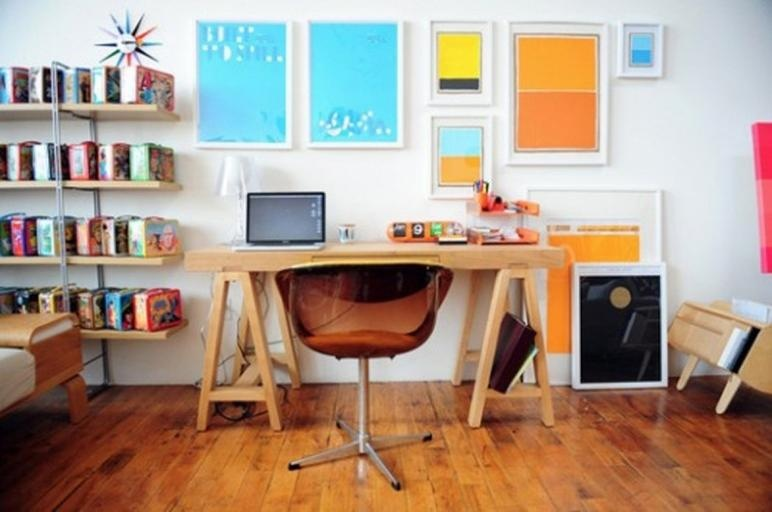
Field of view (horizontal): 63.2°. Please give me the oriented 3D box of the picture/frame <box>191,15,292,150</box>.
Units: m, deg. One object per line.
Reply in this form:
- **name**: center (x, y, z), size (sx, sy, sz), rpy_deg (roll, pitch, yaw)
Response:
- **picture/frame**: center (-1.024, -1.245, 4.376), size (0.967, 1.127, 0.049), rpy_deg (0, -1, -4)

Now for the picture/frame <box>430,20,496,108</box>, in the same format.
- **picture/frame**: center (0.520, -1.365, 4.398), size (0.619, 0.690, 0.054), rpy_deg (0, 1, -2)

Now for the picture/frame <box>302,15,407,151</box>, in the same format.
- **picture/frame**: center (-0.234, -1.246, 4.386), size (0.959, 1.116, 0.080), rpy_deg (0, 0, -3)

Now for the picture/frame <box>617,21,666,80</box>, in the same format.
- **picture/frame**: center (1.785, -1.463, 4.424), size (0.409, 0.442, 0.041), rpy_deg (0, 1, -1)

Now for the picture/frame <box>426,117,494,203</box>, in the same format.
- **picture/frame**: center (0.511, -0.696, 4.422), size (0.653, 0.756, 0.059), rpy_deg (0, 0, -2)

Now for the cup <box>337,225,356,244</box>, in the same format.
- **cup**: center (-0.273, -0.150, 4.391), size (0.139, 0.134, 0.113), rpy_deg (3, -3, -15)

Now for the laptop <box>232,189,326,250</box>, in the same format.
- **laptop**: center (-0.675, -0.187, 4.285), size (0.585, 0.379, 0.383), rpy_deg (0, -1, -1)

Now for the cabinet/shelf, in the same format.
- **cabinet/shelf**: center (-2.034, -0.204, 4.334), size (0.909, 2.254, 0.536), rpy_deg (5, 12, 26)
